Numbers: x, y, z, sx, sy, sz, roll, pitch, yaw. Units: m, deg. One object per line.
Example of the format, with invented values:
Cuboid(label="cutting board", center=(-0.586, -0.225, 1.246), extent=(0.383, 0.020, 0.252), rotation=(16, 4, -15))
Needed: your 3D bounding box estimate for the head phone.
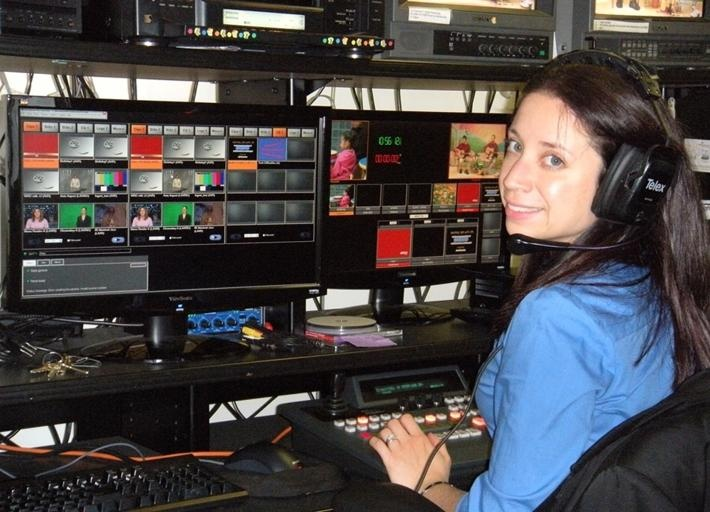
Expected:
Cuboid(label="head phone", center=(0.416, -0.208, 1.093), extent=(0.254, 0.284, 0.212), rotation=(13, 23, 22))

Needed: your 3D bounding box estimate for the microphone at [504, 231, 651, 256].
Cuboid(label="microphone", center=(0.362, -0.015, 1.072), extent=(0.118, 0.019, 0.072), rotation=(0, -3, 19))

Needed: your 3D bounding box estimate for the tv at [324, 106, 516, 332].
Cuboid(label="tv", center=(0.179, -0.150, 1.920), extent=(0.945, 0.548, 0.131), rotation=(-4, 13, -26))

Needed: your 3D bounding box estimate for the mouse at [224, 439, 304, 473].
Cuboid(label="mouse", center=(-0.220, 0.445, 1.397), extent=(0.128, 0.029, 0.083), rotation=(0, -5, 29))

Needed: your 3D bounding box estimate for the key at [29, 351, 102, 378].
Cuboid(label="key", center=(-0.665, 0.244, 1.412), extent=(0.149, 0.056, 0.124), rotation=(-4, 1, -24))
